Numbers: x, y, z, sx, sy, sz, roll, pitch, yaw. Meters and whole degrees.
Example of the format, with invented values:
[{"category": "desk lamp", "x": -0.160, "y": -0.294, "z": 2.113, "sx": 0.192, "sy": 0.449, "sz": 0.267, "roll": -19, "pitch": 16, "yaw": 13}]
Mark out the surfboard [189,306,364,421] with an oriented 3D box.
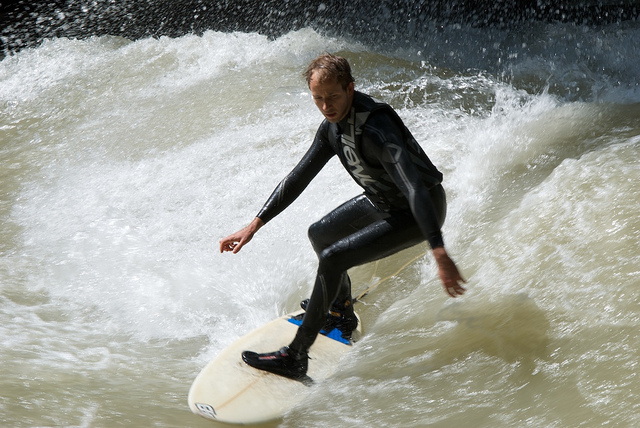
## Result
[{"category": "surfboard", "x": -0.276, "y": 1.360, "z": 6.881, "sx": 1.738, "sy": 0.216, "sz": 0.695, "roll": -20, "pitch": 51, "yaw": -24}]
